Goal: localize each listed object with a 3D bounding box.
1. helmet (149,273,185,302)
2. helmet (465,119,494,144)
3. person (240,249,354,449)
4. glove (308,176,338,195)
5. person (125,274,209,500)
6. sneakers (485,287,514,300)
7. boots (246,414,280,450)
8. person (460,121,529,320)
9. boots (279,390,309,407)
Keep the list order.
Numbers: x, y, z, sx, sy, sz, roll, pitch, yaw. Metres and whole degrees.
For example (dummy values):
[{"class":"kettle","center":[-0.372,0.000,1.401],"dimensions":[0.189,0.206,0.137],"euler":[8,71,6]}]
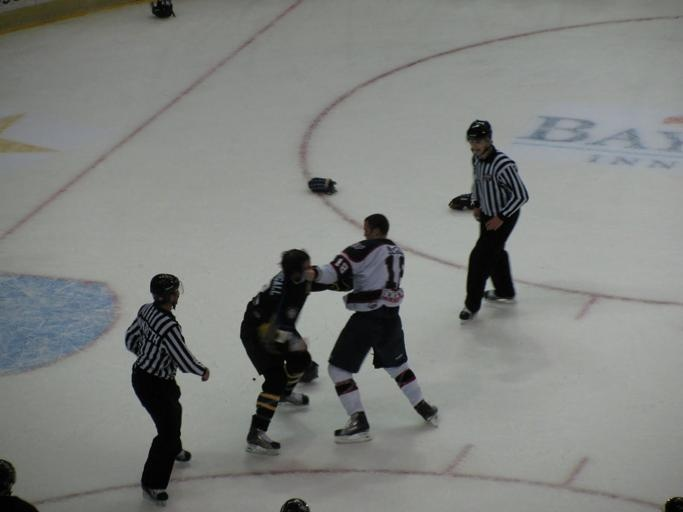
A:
[{"class":"helmet","center":[-1.130,0.176,4.293],"dimensions":[0.197,0.182,0.155],"euler":[-24,39,-21]},{"class":"helmet","center":[1.142,-1.048,5.475],"dimensions":[0.175,0.142,0.315],"euler":[1,0,15]},{"class":"person","center":[-0.315,0.753,4.867],"dimensions":[0.534,1.454,0.755],"euler":[3,33,-3]},{"class":"glove","center":[-0.216,-0.791,7.454],"dimensions":[0.329,0.197,0.238],"euler":[1,0,-3]},{"class":"person","center":[-1.160,0.859,4.336],"dimensions":[0.535,1.482,0.299],"euler":[2,1,36]},{"class":"sneakers","center":[1.445,0.340,6.025],"dimensions":[0.275,0.116,0.098],"euler":[-2,10,24]},{"class":"boots","center":[-0.559,1.262,4.716],"dimensions":[0.296,0.279,0.149],"euler":[4,4,-7]},{"class":"person","center":[1.309,-0.282,5.702],"dimensions":[0.528,1.263,0.800],"euler":[1,0,10]},{"class":"boots","center":[-0.365,1.095,5.079],"dimensions":[0.215,0.086,0.119],"euler":[-4,18,-9]}]
